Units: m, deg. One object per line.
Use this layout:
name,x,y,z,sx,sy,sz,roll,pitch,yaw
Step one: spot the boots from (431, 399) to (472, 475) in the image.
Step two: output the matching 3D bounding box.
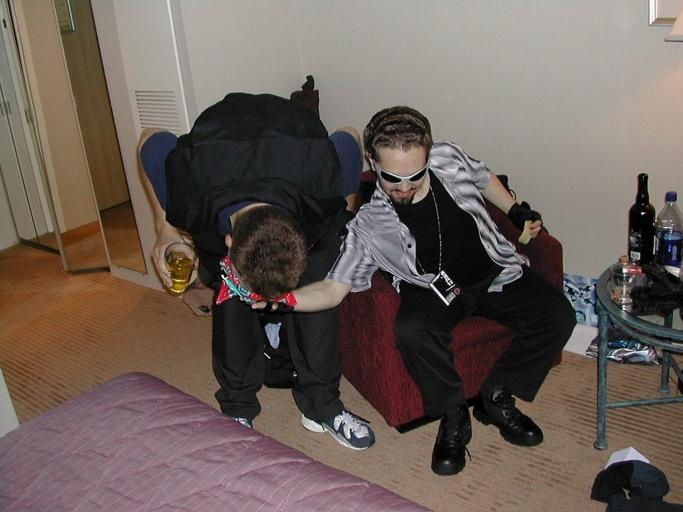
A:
boots,0.502,0.835,2.306,0.118,0.155,0.351,5,29,17

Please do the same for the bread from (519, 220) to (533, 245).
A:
bread,0.890,-0.111,2.455,0.054,0.109,0.027,12,-6,-1

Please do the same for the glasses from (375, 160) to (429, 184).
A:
glasses,0.244,-0.339,2.094,0.206,0.069,0.097,-1,24,5

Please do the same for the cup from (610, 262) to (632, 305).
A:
cup,1.197,0.130,2.180,0.085,0.152,0.152,-7,13,3

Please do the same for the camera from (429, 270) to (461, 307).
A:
camera,0.466,0.143,2.312,0.117,0.155,0.041,-42,-9,-1

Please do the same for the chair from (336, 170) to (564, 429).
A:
chair,0.457,0.406,2.748,0.904,0.764,0.956,-7,1,-3

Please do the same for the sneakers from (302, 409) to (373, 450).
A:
sneakers,-0.027,0.849,2.504,0.338,0.149,0.165,19,39,22

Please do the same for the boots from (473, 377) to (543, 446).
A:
boots,0.792,0.725,2.444,0.142,0.277,0.373,-17,22,-36

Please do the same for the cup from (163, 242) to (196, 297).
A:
cup,-0.731,0.048,2.214,0.118,0.214,0.218,0,58,-5

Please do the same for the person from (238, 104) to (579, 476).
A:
person,0.430,0.183,2.314,1.436,1.630,0.828,-34,41,-18
